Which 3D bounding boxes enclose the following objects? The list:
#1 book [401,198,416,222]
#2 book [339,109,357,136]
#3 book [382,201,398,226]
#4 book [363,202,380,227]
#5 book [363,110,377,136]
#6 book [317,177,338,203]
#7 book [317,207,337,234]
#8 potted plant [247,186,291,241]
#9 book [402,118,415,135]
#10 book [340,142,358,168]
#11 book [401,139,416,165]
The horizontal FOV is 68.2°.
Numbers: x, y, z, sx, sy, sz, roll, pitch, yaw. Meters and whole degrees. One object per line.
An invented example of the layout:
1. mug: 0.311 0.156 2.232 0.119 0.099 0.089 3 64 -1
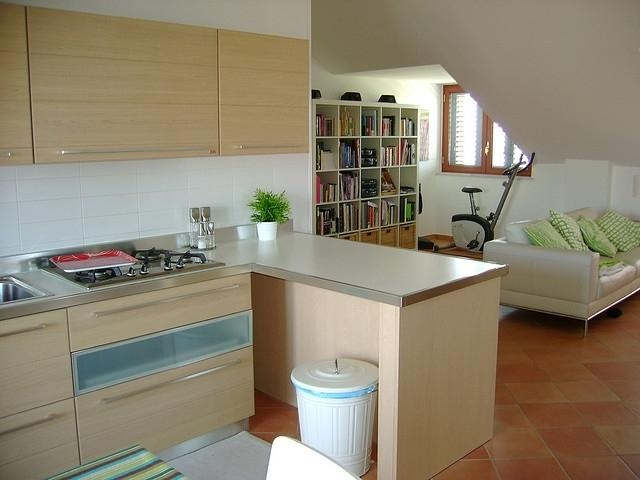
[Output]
1. book: 1.449 -0.489 7.761 0.242 0.322 0.343 -5 11 -23
2. book: 0.394 -1.740 6.934 0.350 0.390 0.183 -11 18 -41
3. book: 1.111 -0.432 7.533 0.228 0.352 0.378 5 8 42
4. book: 0.785 -0.399 7.318 0.361 0.345 0.212 -5 8 -33
5. book: 0.766 -1.775 7.171 0.237 0.374 0.257 1 13 5
6. book: 0.099 -0.689 6.757 0.177 0.300 0.394 7 15 28
7. book: 0.063 -0.270 6.821 0.224 0.385 0.440 11 17 38
8. potted plant: -0.391 -0.240 3.808 0.388 0.424 0.410 10 15 43
9. book: 1.429 -1.838 7.656 0.275 0.257 0.200 -8 10 -42
10. book: 0.426 -1.253 6.960 0.287 0.397 0.406 0 3 22
11. book: 1.433 -1.416 7.672 0.226 0.375 0.399 -4 12 -22
